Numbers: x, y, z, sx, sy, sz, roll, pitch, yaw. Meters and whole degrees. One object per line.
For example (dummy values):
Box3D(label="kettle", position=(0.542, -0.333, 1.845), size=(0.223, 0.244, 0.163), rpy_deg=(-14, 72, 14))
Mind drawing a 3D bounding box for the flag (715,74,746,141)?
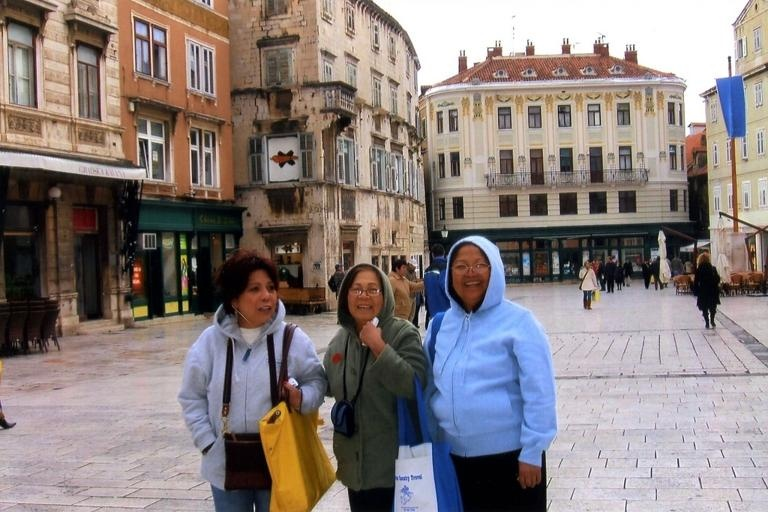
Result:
Box3D(label="flag", position=(15.800, -6.889, 35.180), size=(1.238, 2.486, 2.577), rpy_deg=(6, 4, 24))

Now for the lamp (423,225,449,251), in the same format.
Box3D(label="lamp", position=(3.499, -1.311, 51.395), size=(1.843, 1.945, 0.984), rpy_deg=(1, -5, -10))

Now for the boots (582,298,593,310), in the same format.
Box3D(label="boots", position=(7.953, 1.869, 30.153), size=(0.389, 0.485, 0.414), rpy_deg=(0, -4, -28))

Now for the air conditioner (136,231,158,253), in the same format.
Box3D(label="air conditioner", position=(-8.457, -0.568, 27.770), size=(0.479, 0.832, 0.968), rpy_deg=(-3, -5, 19))

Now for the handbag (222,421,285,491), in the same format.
Box3D(label="handbag", position=(-1.179, 1.850, 7.129), size=(0.587, 0.592, 0.217), rpy_deg=(-5, -9, -1))
